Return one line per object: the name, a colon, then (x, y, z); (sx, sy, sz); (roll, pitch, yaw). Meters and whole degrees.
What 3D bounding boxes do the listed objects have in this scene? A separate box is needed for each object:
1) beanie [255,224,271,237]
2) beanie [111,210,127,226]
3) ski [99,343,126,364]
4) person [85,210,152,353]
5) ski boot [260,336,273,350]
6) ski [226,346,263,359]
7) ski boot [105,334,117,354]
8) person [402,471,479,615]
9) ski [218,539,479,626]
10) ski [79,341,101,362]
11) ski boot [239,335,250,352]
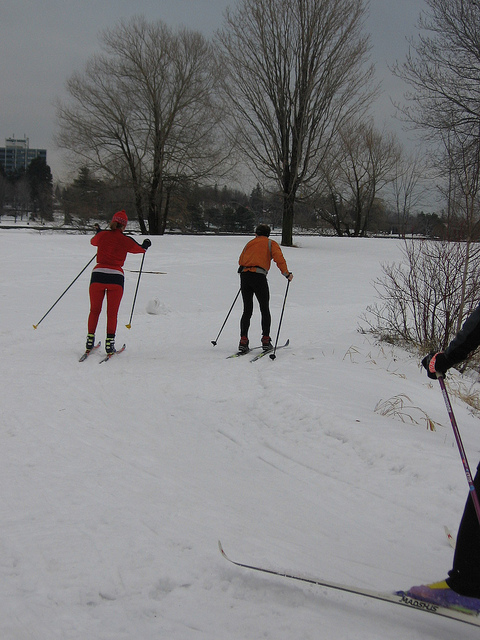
beanie: (0.308, -1.171, 7.655); (0.176, 0.164, 0.300); (2, 13, -12)
beanie: (-1.428, -1.228, 7.043); (0.155, 0.203, 0.162); (19, 9, 24)
ski: (-1.495, 0.404, 6.958); (0.059, 0.056, 0.453); (31, -40, -20)
person: (-1.585, -0.470, 7.514); (0.741, 1.867, 1.522); (1, 12, -14)
ski boot: (0.341, 0.315, 7.489); (0.107, 0.172, 0.164); (-2, -37, 5)
ski: (0.055, 0.414, 7.444); (0.118, 0.079, 0.853); (11, 15, 26)
ski boot: (-1.509, 0.268, 6.989); (0.109, 0.245, 0.238); (5, 12, 9)
person: (1.012, 1.284, 2.891); (0.114, 0.993, 0.230); (14, -12, -17)
ski: (0.547, 1.413, 3.131); (1.006, 0.098, 0.135); (17, -38, 18)
ski: (-1.777, 0.387, 6.983); (0.054, 0.042, 0.449); (-9, 26, 14)
ski boot: (0.053, 0.307, 7.473); (0.100, 0.182, 0.165); (-1, -6, 5)
